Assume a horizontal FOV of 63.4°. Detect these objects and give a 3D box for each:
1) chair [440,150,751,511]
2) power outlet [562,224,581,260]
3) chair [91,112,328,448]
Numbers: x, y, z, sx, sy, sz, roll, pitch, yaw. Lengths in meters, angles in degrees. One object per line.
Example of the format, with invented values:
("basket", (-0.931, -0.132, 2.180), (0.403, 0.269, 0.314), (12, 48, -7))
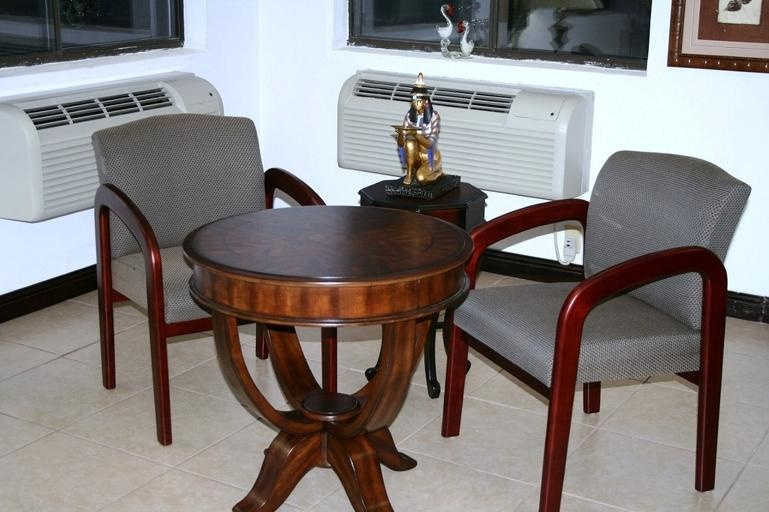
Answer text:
("chair", (0.764, 0.143, 3.077), (1.346, 1.913, 1.290), (-5, 16, -24))
("power outlet", (1.212, -0.091, 4.052), (0.108, 0.235, 0.129), (13, 29, 36))
("chair", (-0.827, 0.070, 3.070), (0.995, 1.366, 0.854), (-10, 20, -36))
